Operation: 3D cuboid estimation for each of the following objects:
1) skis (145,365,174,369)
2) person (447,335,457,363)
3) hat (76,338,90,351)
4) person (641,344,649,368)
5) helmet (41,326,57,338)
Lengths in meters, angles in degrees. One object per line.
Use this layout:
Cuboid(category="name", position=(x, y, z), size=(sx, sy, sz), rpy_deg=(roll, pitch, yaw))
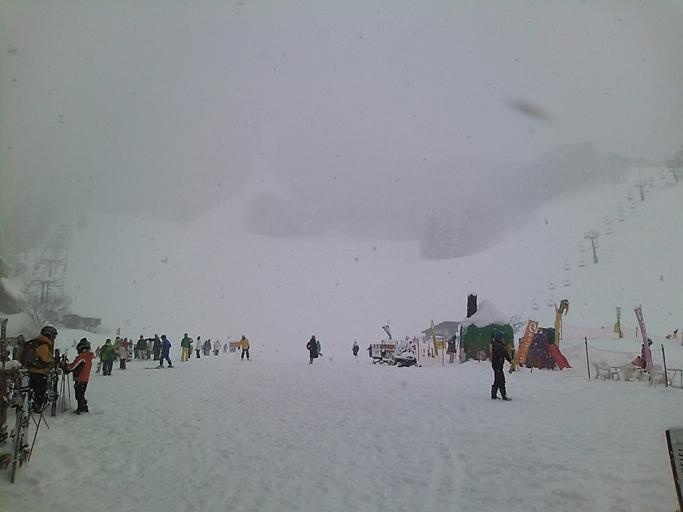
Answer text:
Cuboid(category="skis", position=(-7.625, 4.632, 22.199), size=(1.021, 0.173, 0.068), rpy_deg=(4, 3, -34))
Cuboid(category="person", position=(5.575, 4.599, 26.460), size=(0.526, 1.417, 0.427), rpy_deg=(0, 0, 27))
Cuboid(category="hat", position=(-5.241, 1.783, 10.773), size=(0.183, 0.126, 0.280), rpy_deg=(0, 0, -4))
Cuboid(category="person", position=(9.687, 3.189, 16.839), size=(0.168, 0.553, 0.932), rpy_deg=(0, -1, 30))
Cuboid(category="helmet", position=(-5.630, 1.435, 10.196), size=(0.214, 0.283, 0.267), rpy_deg=(7, 0, 9))
